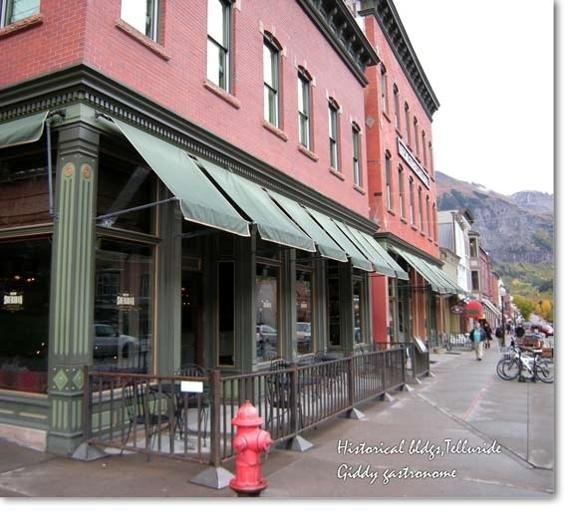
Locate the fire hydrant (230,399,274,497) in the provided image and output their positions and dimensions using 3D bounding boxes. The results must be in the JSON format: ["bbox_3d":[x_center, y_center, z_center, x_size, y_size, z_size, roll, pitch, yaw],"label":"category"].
[{"bbox_3d":[-0.386,2.182,5.838,0.476,1.037,0.310,-3,-10,-3],"label":"fire hydrant"}]
